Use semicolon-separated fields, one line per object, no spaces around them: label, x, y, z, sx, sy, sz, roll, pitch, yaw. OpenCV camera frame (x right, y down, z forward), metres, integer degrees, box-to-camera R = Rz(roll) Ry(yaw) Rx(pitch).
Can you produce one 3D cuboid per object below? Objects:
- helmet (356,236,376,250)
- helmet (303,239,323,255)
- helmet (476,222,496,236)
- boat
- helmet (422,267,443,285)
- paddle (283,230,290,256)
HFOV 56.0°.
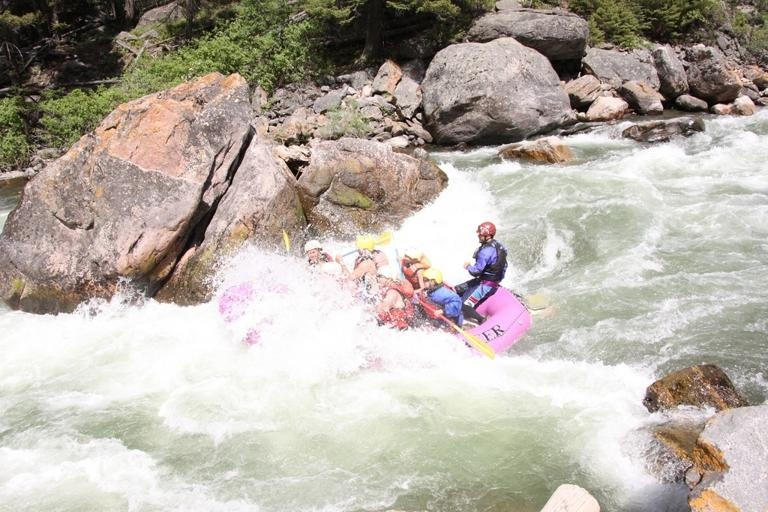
helmet;-0.477;-0.284;17.674;0.405;0.367;0.397;-15;64;4
helmet;-1.803;-0.211;18.157;0.318;0.421;0.328;-19;69;-20
helmet;2.503;-0.641;17.537;0.381;0.286;0.300;23;110;21
boat;0.730;1.563;16.885;4.921;0.778;2.909;0;65;1
helmet;1.162;0.459;17.193;0.397;0.320;0.331;15;111;27
paddle;-2.533;-0.333;18.874;0.101;0.114;0.684;-6;99;44
